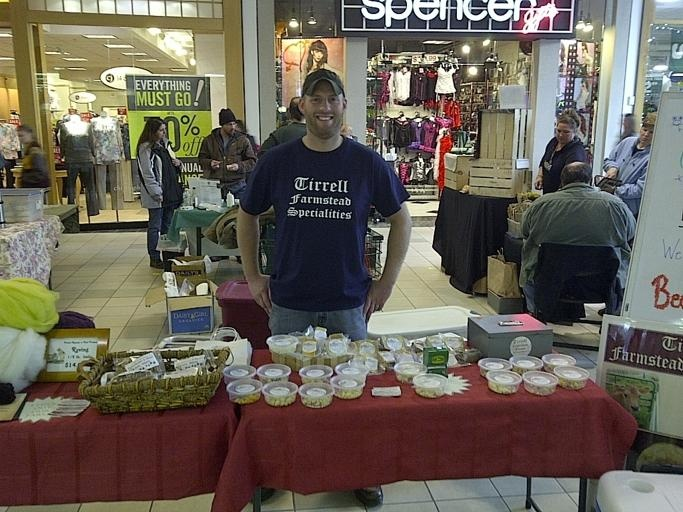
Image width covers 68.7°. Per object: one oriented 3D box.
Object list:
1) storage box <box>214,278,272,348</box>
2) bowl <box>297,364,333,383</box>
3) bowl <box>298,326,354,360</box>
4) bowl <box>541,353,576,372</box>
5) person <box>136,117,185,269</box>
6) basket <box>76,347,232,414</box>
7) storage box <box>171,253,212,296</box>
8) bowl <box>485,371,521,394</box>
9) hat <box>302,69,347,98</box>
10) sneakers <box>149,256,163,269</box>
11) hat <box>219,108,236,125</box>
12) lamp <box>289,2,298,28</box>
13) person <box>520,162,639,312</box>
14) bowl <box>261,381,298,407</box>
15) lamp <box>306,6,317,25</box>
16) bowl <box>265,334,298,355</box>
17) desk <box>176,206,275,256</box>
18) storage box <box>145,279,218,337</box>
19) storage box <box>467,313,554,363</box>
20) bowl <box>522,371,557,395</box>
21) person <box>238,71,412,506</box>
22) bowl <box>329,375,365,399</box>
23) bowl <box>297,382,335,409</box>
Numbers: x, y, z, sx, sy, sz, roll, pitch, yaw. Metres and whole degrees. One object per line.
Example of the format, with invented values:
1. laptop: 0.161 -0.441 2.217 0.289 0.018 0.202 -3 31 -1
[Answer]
1. storage box: -0.808 0.432 4.314 0.520 0.775 0.558 1 20 -8
2. bowl: -0.108 0.519 2.189 0.149 0.048 0.120 -5 18 -11
3. bowl: -0.086 0.393 2.325 0.162 0.060 0.140 4 4 42
4. bowl: 0.993 0.483 2.324 0.102 0.034 0.104 -1 5 0
5. person: -2.525 -0.870 7.010 0.551 2.050 0.328 -9 18 -24
6. basket: -0.773 0.505 2.010 0.405 0.136 0.316 -2 9 -5
7. storage box: -1.511 0.156 5.051 0.378 0.377 0.382 0 10 -9
8. bowl: 0.702 0.538 2.165 0.135 0.057 0.148 -1 18 0
9. hat: -0.089 -0.789 2.261 0.184 0.121 0.188 -3 18 -4
10. sneakers: -2.654 0.100 7.151 0.245 0.107 0.091 2 4 38
11. hat: -1.600 -1.978 7.048 0.224 0.218 0.210 -7 26 -7
12. lamp: -1.064 -5.286 11.022 0.238 0.507 0.117 -10 19 -26
13. person: 1.961 -0.101 4.251 0.884 1.304 0.577 8 19 29
14. bowl: -0.256 0.559 2.058 0.135 0.050 0.148 -1 18 0
15. lamp: -0.653 -5.313 10.947 0.209 0.381 0.598 -2 18 -2
16. bowl: -0.270 0.407 2.349 0.155 0.069 0.117 8 20 26
17. desk: -1.424 -0.170 5.679 0.825 0.433 0.836 -4 14 -18
18. storage box: -1.401 0.494 4.549 0.450 0.292 0.603 1 19 -7
19. storage box: 0.807 0.329 2.450 0.304 0.156 0.223 -1 12 -6
20. bowl: 0.858 0.543 2.163 0.135 0.049 0.151 11 22 34
21. person: -0.080 -0.225 2.438 0.886 1.292 0.420 -4 17 -8
22. bowl: 0.021 0.550 2.103 0.143 0.055 0.116 1 18 7
23. bowl: -0.102 0.565 2.043 0.133 0.054 0.135 -1 18 0
